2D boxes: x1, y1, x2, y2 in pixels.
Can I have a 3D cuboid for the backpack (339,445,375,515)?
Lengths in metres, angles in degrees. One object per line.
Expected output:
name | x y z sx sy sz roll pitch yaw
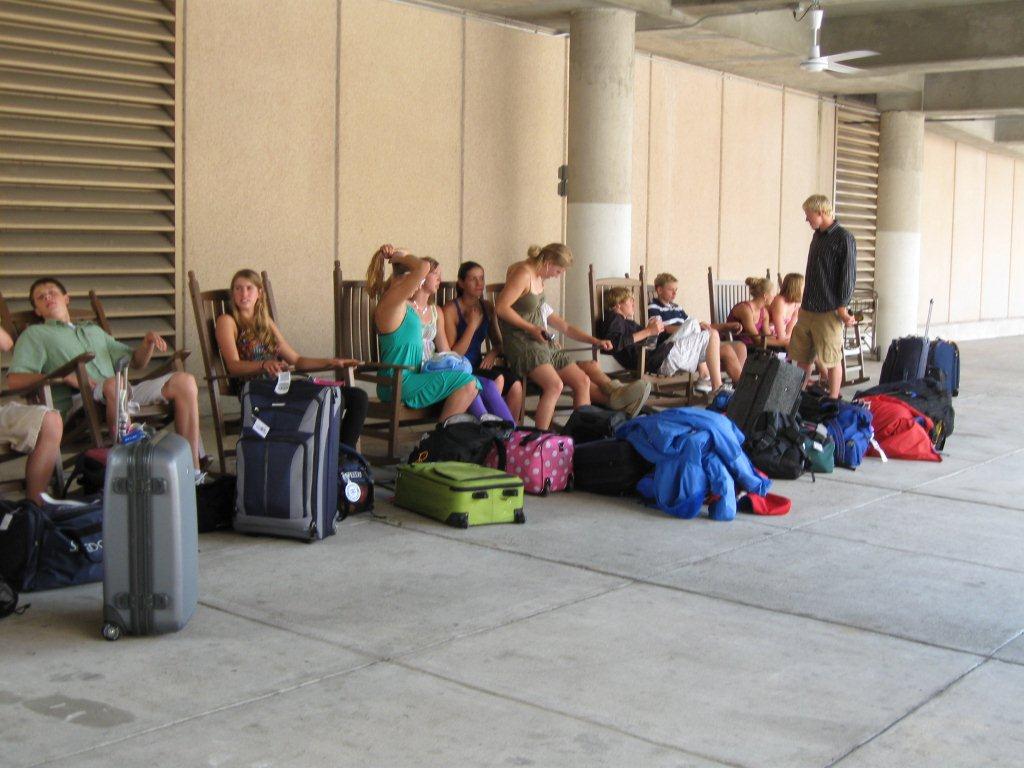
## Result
backpack | -0.840 0.515 4.652 0.120 0.416 0.247 5 9 23

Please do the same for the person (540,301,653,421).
person | 0.761 -0.212 6.681 0.541 0.827 1.108 -14 23 -37

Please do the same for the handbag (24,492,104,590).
handbag | -1.855 0.640 3.790 0.429 0.442 0.296 -2 7 -30

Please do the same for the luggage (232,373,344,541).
luggage | -1.117 0.361 4.376 0.525 0.794 0.430 5 4 14

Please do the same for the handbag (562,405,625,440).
handbag | 0.506 0.267 5.643 0.287 0.292 0.200 4 -14 8

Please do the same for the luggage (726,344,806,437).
luggage | 1.609 0.044 5.726 0.317 0.508 0.327 25 5 35

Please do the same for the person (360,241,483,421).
person | -0.560 -0.248 5.827 0.761 1.313 0.589 1 11 6

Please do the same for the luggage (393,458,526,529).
luggage | -0.320 0.589 4.924 0.478 0.270 0.756 3 3 -37

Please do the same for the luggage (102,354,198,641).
luggage | -1.312 0.424 3.216 0.313 0.910 0.391 2 11 -7

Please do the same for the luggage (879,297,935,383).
luggage | 3.543 -0.313 7.983 0.212 0.858 0.362 8 -1 -37

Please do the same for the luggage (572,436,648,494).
luggage | 0.559 0.497 5.357 0.317 0.318 0.478 4 0 -19

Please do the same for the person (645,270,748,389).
person | 1.587 -0.377 7.593 0.910 1.179 0.555 0 -2 37

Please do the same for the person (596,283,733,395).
person | 1.235 -0.324 7.292 1.100 0.854 0.737 1 17 2

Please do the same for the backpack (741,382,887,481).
backpack | 1.970 0.370 5.895 0.791 0.382 0.592 13 2 -3

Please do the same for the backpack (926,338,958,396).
backpack | 3.961 -0.137 8.105 0.181 0.329 0.225 5 3 33

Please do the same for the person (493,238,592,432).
person | 0.239 -0.277 6.504 0.840 1.540 0.597 -2 7 -35

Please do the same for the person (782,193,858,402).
person | 2.653 -0.638 7.468 0.426 1.914 0.722 -10 17 -28

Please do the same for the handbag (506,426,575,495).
handbag | 0.157 0.470 5.446 0.330 0.374 0.452 -4 4 -31
